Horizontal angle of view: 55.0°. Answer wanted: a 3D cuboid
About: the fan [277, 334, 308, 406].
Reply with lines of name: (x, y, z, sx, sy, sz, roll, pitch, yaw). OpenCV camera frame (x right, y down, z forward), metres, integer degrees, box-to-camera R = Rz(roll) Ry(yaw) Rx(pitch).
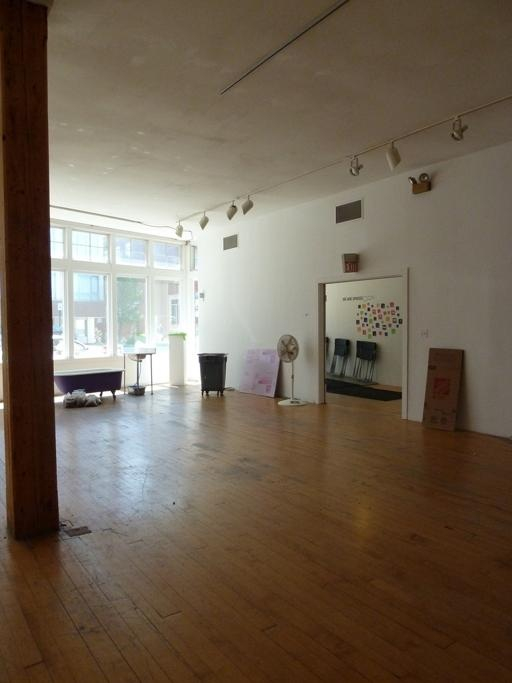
fan: (0.564, 0.451, 7.980, 0.444, 1.121, 0.761, 1, 3, 6)

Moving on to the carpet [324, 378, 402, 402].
carpet: (1.966, 0.926, 9.278, 1.298, 0.059, 2.417, 2, 2, 8)

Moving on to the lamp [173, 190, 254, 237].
lamp: (-0.725, -2.088, 8.271, 1.005, 0.416, 3.083, 1, 3, -19)
